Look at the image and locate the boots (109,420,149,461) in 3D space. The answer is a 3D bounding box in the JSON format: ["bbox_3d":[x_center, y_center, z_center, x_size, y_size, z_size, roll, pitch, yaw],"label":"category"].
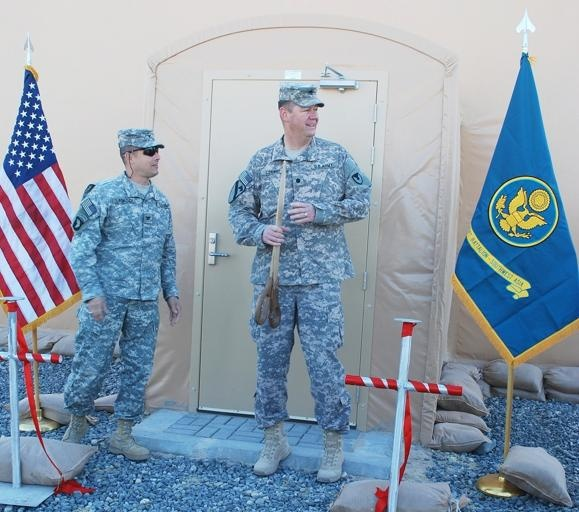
[{"bbox_3d":[-0.852,1.004,3.276,0.250,0.188,0.090,8,3,21],"label":"boots"}]

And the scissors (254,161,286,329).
[{"bbox_3d":[-0.091,-0.057,3.038,0.148,0.823,0.341,1,9,0],"label":"scissors"}]

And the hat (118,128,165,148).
[{"bbox_3d":[-0.822,-0.641,3.315,0.184,0.073,0.132,7,12,10],"label":"hat"}]

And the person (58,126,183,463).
[{"bbox_3d":[-0.881,0.203,3.261,0.667,1.750,0.435,-5,11,-33],"label":"person"}]

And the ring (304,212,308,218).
[{"bbox_3d":[0.087,-0.199,2.937,0.019,0.019,0.008,-6,12,-35],"label":"ring"}]

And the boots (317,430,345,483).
[{"bbox_3d":[0.213,1.015,3.090,0.110,0.186,0.298,-2,7,15],"label":"boots"}]

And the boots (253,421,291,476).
[{"bbox_3d":[-0.091,1.013,3.162,0.091,0.176,0.281,-3,13,35],"label":"boots"}]

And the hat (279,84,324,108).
[{"bbox_3d":[0.064,-0.792,3.049,0.176,0.097,0.130,2,7,-9],"label":"hat"}]

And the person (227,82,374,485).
[{"bbox_3d":[0.035,0.126,3.107,0.720,1.978,0.484,2,10,7],"label":"person"}]
